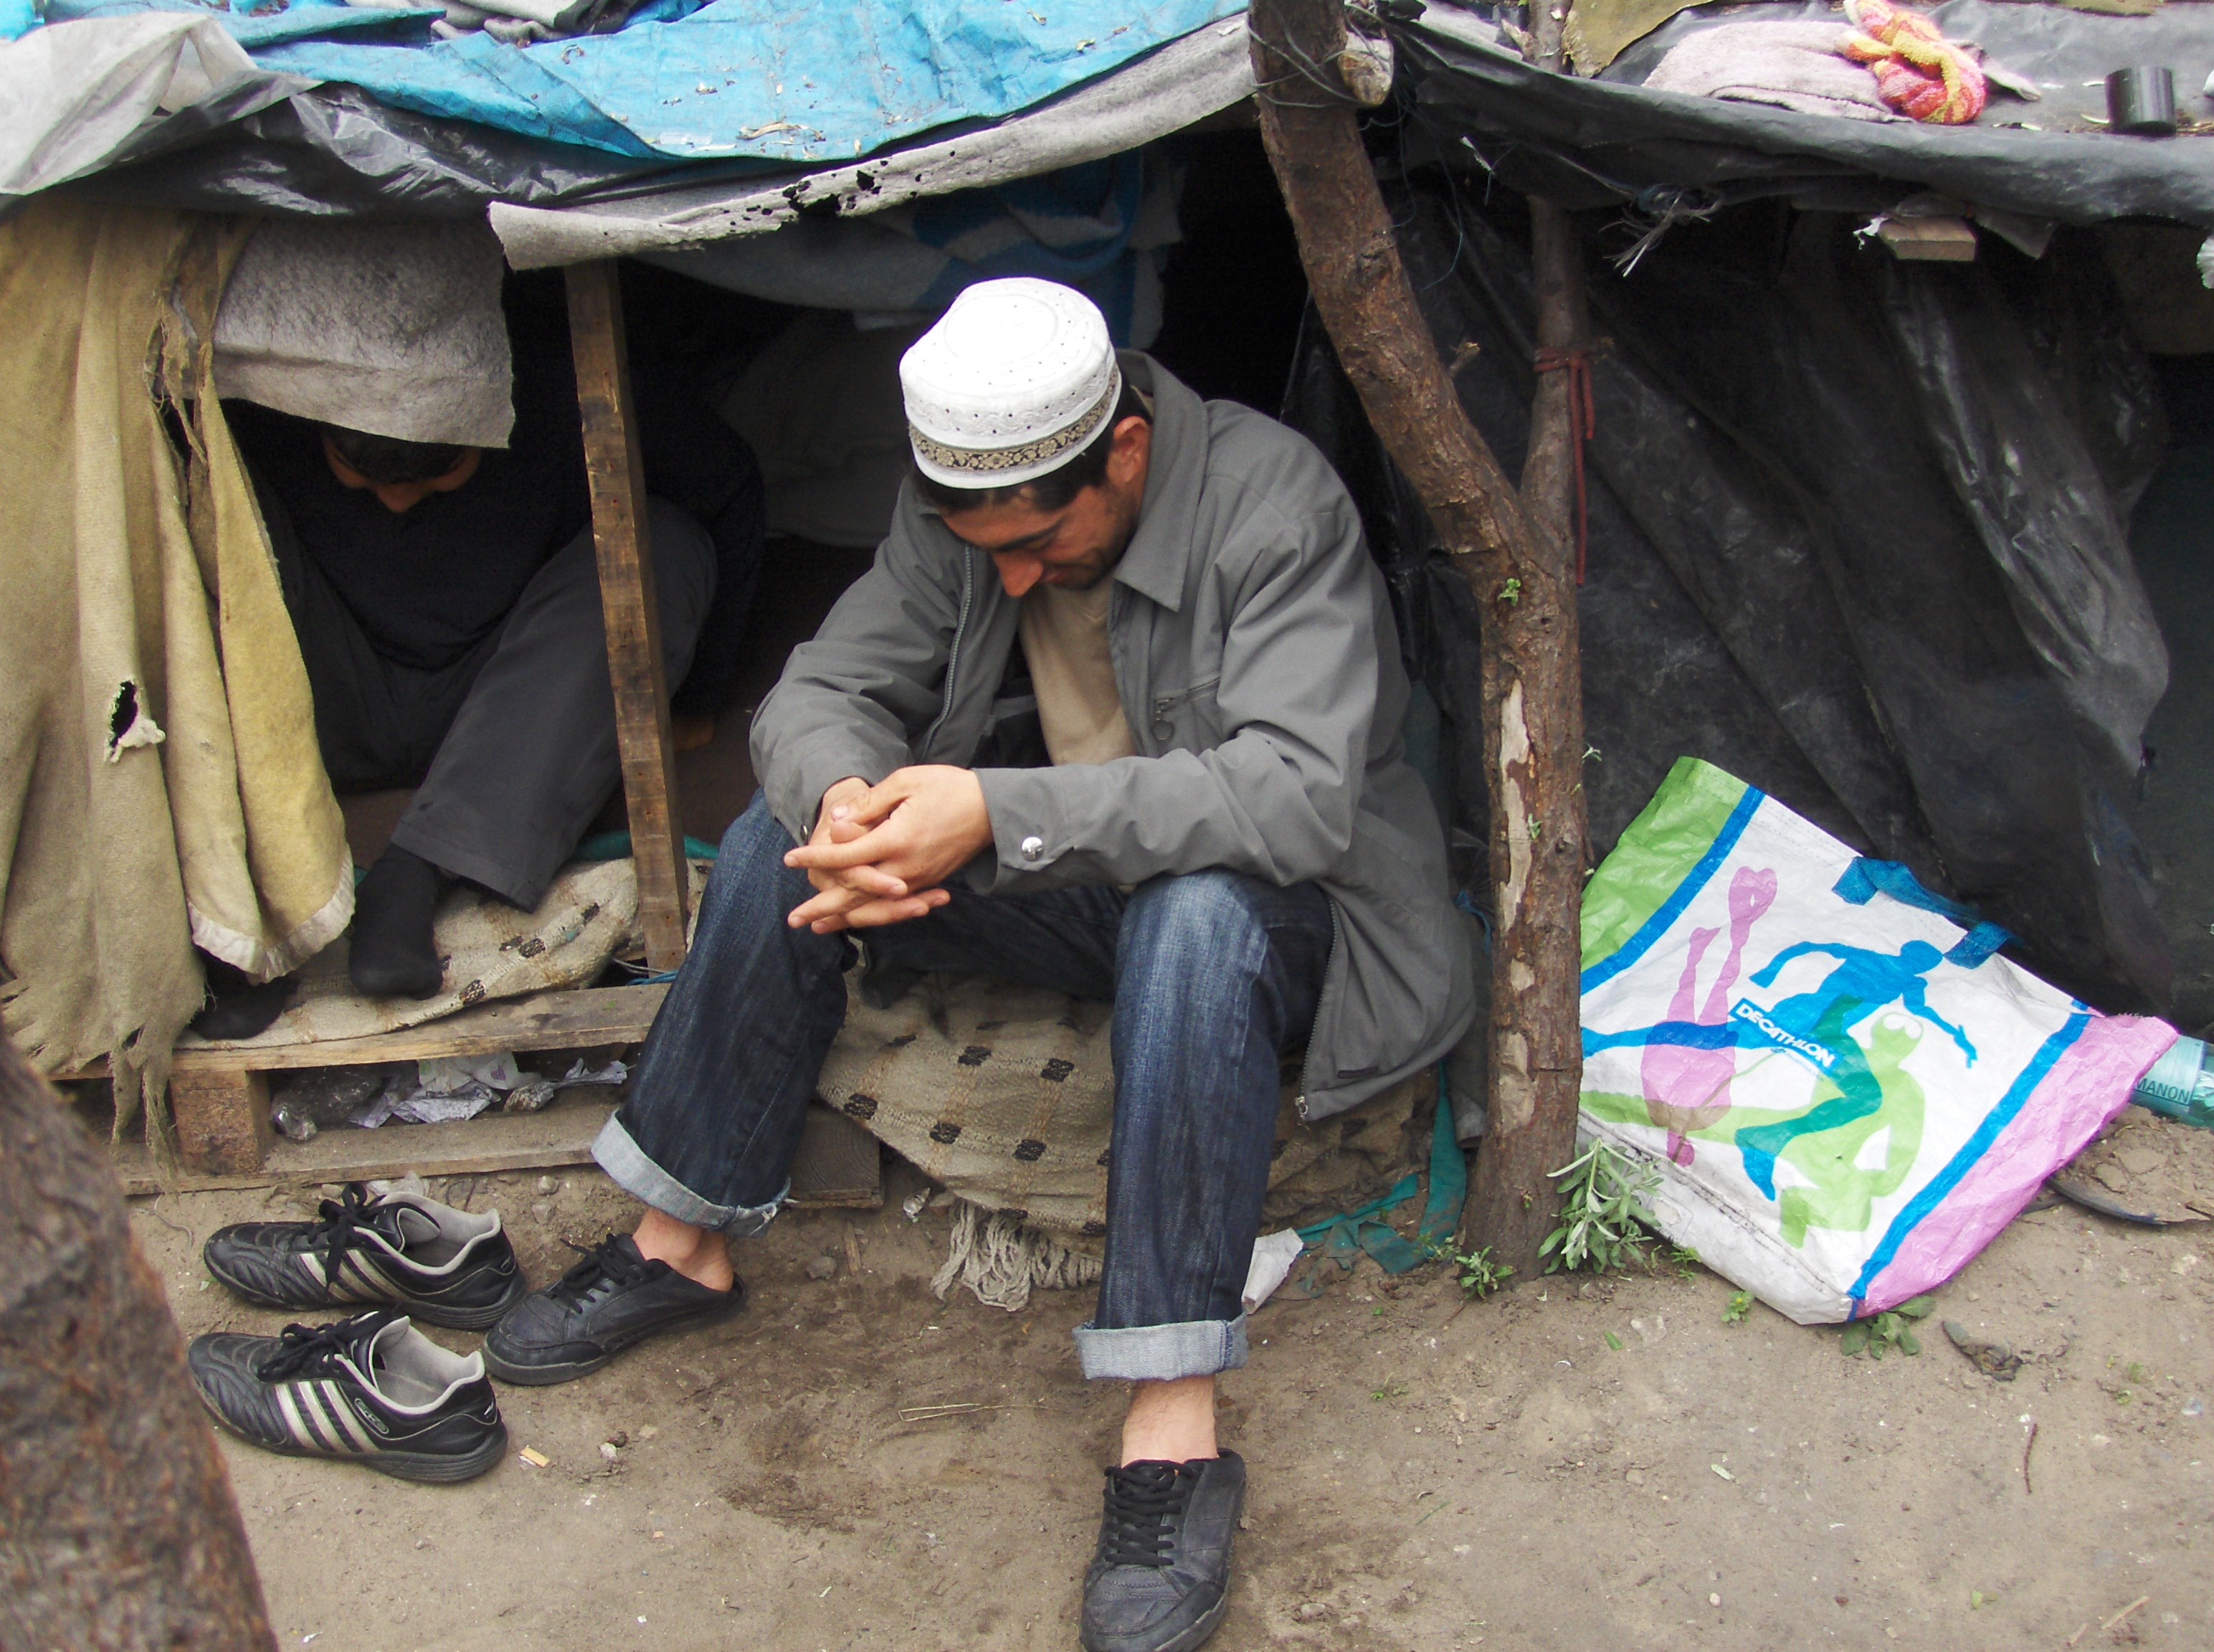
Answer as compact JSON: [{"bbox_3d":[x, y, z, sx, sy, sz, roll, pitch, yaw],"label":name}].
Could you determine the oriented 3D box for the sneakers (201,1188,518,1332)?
[{"bbox_3d":[-1.337,0.815,3.653,0.603,0.255,0.246,6,43,-5],"label":"sneakers"}]

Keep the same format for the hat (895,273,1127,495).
[{"bbox_3d":[-0.153,-0.717,3.173,0.324,0.164,0.339,-9,51,2],"label":"hat"}]

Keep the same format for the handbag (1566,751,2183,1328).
[{"bbox_3d":[1.277,0.374,3.619,0.951,0.450,0.997,-27,41,-27],"label":"handbag"}]

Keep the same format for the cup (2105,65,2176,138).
[{"bbox_3d":[1.799,-1.275,3.350,0.118,0.100,0.235,12,39,24],"label":"cup"}]

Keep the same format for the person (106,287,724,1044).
[{"bbox_3d":[-1.446,-0.619,3.948,1.151,1.424,1.625,2,25,-1],"label":"person"}]

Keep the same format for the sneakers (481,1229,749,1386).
[{"bbox_3d":[-0.885,0.849,3.544,0.479,0.210,0.178,-17,54,-29],"label":"sneakers"}]
